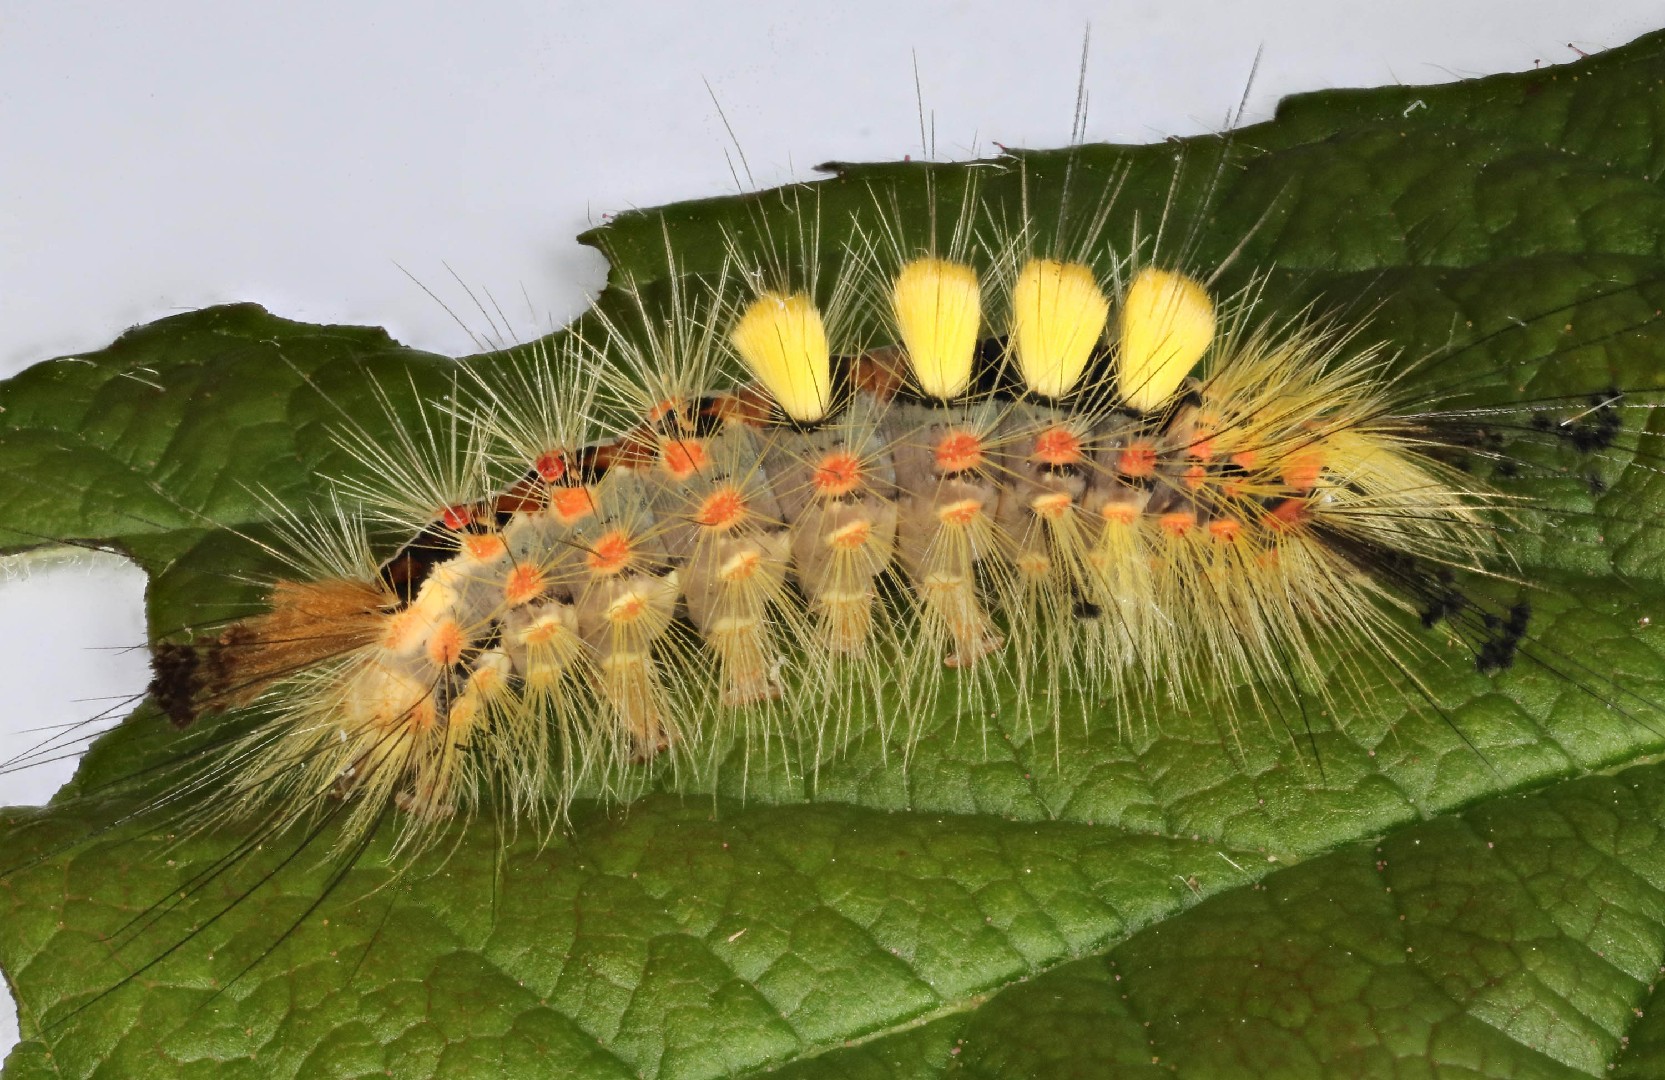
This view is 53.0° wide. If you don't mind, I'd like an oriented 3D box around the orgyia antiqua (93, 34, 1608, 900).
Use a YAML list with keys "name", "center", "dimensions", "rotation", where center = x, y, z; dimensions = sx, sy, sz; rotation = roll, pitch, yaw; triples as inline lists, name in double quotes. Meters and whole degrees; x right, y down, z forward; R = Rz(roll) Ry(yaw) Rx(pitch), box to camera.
- name: "orgyia antiqua"
  center: [0.074, -0.120, 5.185]
  dimensions: [3.903, 1.431, 1.284]
  rotation: [-8, 22, -2]
